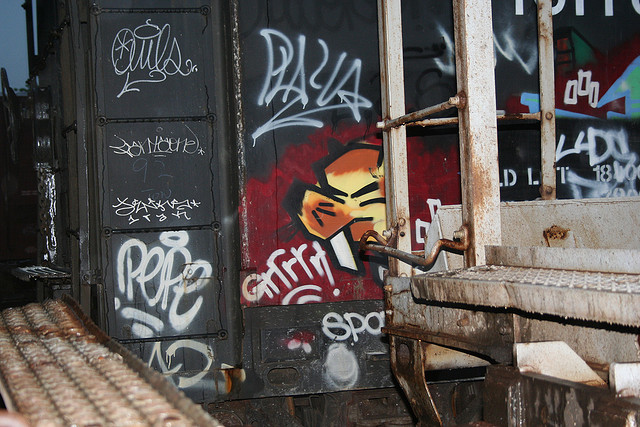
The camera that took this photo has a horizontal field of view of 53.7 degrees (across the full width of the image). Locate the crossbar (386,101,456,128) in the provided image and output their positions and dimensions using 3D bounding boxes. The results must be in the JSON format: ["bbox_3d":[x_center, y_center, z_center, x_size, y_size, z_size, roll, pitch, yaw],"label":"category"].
[{"bbox_3d":[0.808,-0.782,4.956,0.186,0.128,0.853,-2,1,-27],"label":"crossbar"}]
